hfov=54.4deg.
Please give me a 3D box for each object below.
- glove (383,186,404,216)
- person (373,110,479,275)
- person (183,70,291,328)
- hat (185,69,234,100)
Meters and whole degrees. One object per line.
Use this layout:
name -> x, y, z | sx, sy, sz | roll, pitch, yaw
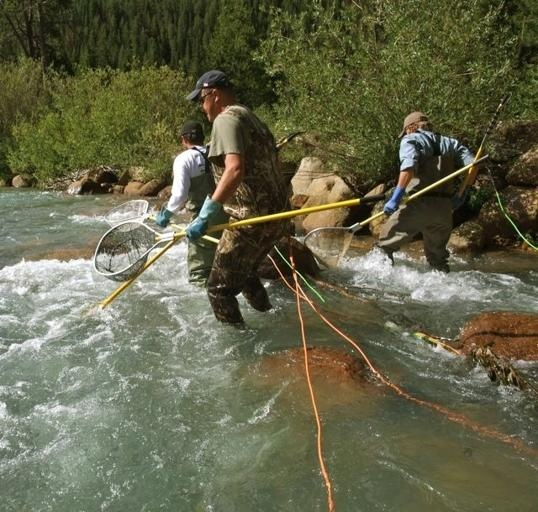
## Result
glove -> 1.517, -0.688, 6.404 | 0.116, 0.357, 0.271 | 32, 2, -20
person -> 2.223, -0.789, 7.215 | 1.164, 2.251, 1.366 | 2, 22, 9
person -> -0.331, -0.397, 5.316 | 1.216, 2.711, 1.143 | 5, 15, 13
hat -> -0.590, -1.610, 5.004 | 0.438, 0.203, 0.265 | -9, 19, 8
